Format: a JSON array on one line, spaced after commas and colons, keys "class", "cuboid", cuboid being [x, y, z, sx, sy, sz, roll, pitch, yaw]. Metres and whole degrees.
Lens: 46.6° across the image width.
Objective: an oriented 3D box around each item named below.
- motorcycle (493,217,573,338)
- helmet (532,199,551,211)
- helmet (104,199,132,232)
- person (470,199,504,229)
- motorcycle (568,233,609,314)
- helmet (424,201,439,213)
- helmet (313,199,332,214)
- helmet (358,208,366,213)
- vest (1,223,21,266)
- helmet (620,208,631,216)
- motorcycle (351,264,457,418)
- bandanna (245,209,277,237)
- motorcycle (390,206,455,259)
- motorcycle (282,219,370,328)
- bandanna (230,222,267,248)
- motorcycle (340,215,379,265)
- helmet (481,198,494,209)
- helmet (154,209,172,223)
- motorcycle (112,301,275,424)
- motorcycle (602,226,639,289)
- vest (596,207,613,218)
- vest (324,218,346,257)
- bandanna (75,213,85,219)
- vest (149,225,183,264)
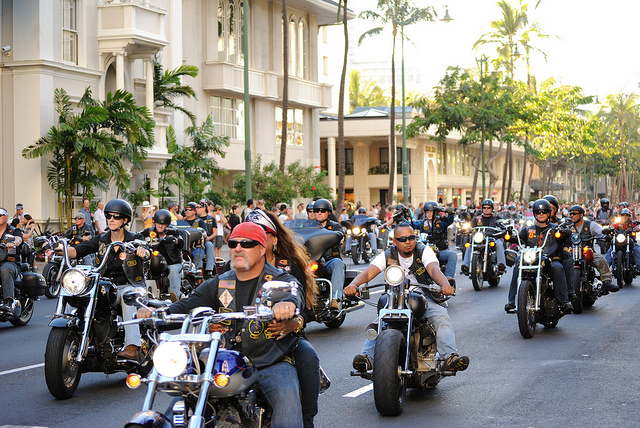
[{"class": "motorcycle", "cuboid": [4.069, 1.383, 13.966, 1.120, 1.463, 2.254, -2, -3, 24]}, {"class": "helmet", "cuboid": [4.393, -0.214, 14.661, 0.214, 0.237, 0.287, 3, 12, 13]}, {"class": "helmet", "cuboid": [-3.006, 0.005, 11.085, 0.377, 0.465, 0.397, -1, 4, -6]}, {"class": "person", "cuboid": [4.973, 0.022, 21.961, 1.123, 1.000, 0.631, 2, -2, 18]}, {"class": "motorcycle", "cuboid": [6.087, 1.261, 16.825, 0.761, 1.878, 2.370, 1, 4, 23]}, {"class": "helmet", "cuboid": [2.852, -0.218, 19.109, 0.313, 0.220, 0.465, 2, 4, 26]}, {"class": "helmet", "cuboid": [0.070, -0.176, 15.153, 0.241, 0.262, 0.319, 3, 9, 21]}, {"class": "helmet", "cuboid": [1.750, -0.178, 30.146, 0.243, 0.202, 0.632, 0, 4, 0]}, {"class": "vest", "cuboid": [-6.520, 0.645, 15.602, 0.258, 0.879, 0.478, 3, 5, 33]}, {"class": "helmet", "cuboid": [8.516, -0.083, 20.682, 0.199, 0.141, 0.282, 3, 6, 15]}, {"class": "motorcycle", "cuboid": [1.119, 1.610, 9.775, 1.234, 1.933, 0.766, -5, 6, -44]}, {"class": "bandanna", "cuboid": [-0.692, 0.132, 8.082, 0.272, 0.207, 0.369, -14, -43, 7]}, {"class": "motorcycle", "cuboid": [2.589, 0.333, 18.226, 1.314, 1.033, 1.740, -1, -4, 11]}, {"class": "motorcycle", "cuboid": [-0.102, 1.190, 15.076, 1.366, 1.637, 2.234, -7, -7, 27]}, {"class": "bandanna", "cuboid": [-0.709, 0.197, 7.359, 0.352, 0.241, 0.231, -1, 4, -7]}, {"class": "motorcycle", "cuboid": [1.505, 0.738, 28.359, 1.216, 1.742, 2.801, 2, 11, 9]}, {"class": "helmet", "cuboid": [4.979, -0.348, 21.910, 0.210, 0.227, 0.297, 5, 7, 17]}, {"class": "helmet", "cuboid": [-3.216, 0.014, 15.237, 0.235, 0.263, 0.309, 6, 25, -2]}, {"class": "motorcycle", "cuboid": [-0.997, 1.378, 7.054, 0.970, 0.887, 1.585, -4, -6, 13]}, {"class": "motorcycle", "cuboid": [8.438, 1.046, 20.206, 1.012, 1.366, 2.188, -2, -3, 19]}, {"class": "vest", "cuboid": [11.165, -0.147, 29.060, 0.554, 0.554, 0.582, 3, 1, 26]}, {"class": "vest", "cuboid": [0.313, 0.484, 14.863, 0.230, 0.635, 0.460, 1, 3, -32]}, {"class": "bandanna", "cuboid": [-6.745, 0.007, 21.019, 0.200, 0.113, 0.269, -2, -23, 5]}, {"class": "vest", "cuboid": [-3.140, 0.767, 15.234, 0.634, 1.093, 0.604, -8, 4, -19]}]
